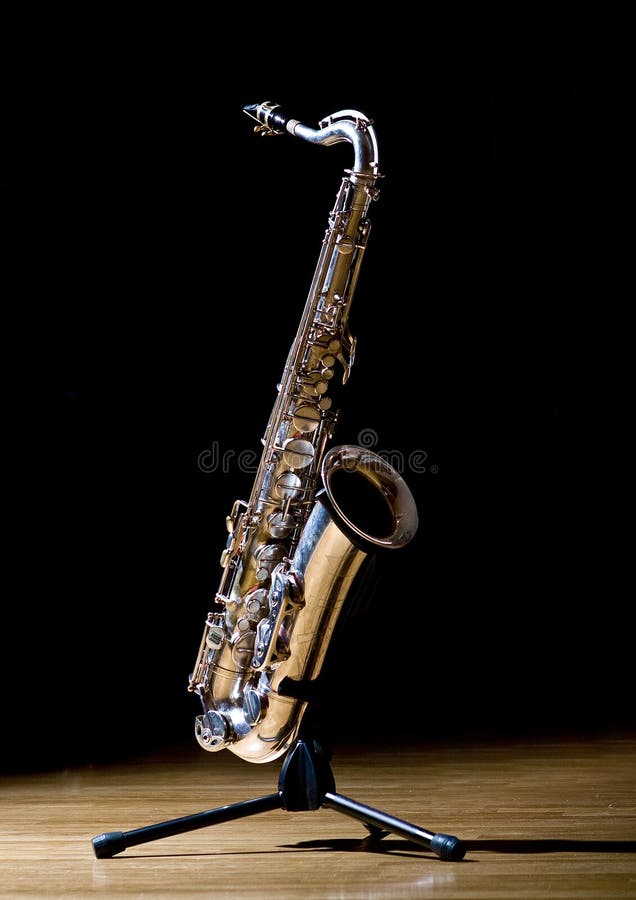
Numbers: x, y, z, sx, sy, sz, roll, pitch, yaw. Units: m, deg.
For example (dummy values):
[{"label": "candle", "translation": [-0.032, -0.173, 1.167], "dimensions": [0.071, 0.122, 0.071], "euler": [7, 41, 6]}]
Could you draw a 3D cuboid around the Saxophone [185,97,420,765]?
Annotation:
[{"label": "Saxophone", "translation": [0.003, -0.072, 2.418], "dimensions": [0.436, 1.418, 0.703], "euler": [7, -26, -6]}]
